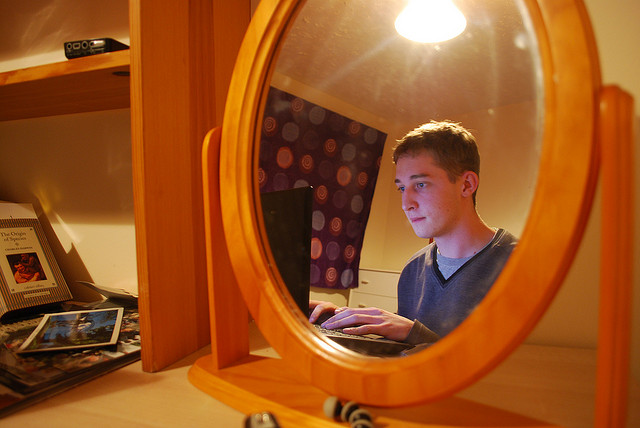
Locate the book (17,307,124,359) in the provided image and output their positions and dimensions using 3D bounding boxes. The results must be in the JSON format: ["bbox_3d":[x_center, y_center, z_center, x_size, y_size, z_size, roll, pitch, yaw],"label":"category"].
[{"bbox_3d":[-0.589,0.280,1.169,0.205,0.092,0.190,3,-7,-20],"label":"book"}]
